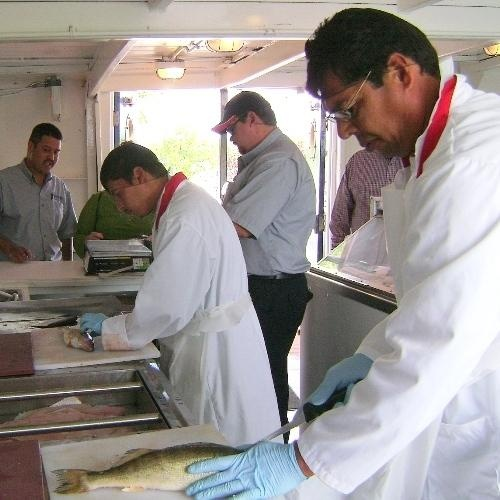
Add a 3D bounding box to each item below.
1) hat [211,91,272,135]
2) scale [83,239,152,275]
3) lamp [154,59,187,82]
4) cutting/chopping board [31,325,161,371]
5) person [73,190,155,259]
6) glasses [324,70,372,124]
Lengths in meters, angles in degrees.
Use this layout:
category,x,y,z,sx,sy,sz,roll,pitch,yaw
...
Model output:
category,x,y,z,sx,sy,sz,roll,pitch,yaw
hat,-0.090,-0.870,2.880,0.394,0.211,0.261,2,22,35
scale,-0.925,0.037,3.318,0.381,0.101,0.385,18,-4,-43
lamp,-0.806,-1.805,4.763,0.201,0.133,0.237,-1,11,-6
cutting/chopping board,-0.616,0.342,1.836,0.422,0.084,0.485,-3,7,-24
person,-1.083,-0.247,4.022,0.825,0.608,0.439,-9,30,-25
glasses,0.199,-0.311,0.974,0.021,0.071,0.067,36,10,23
